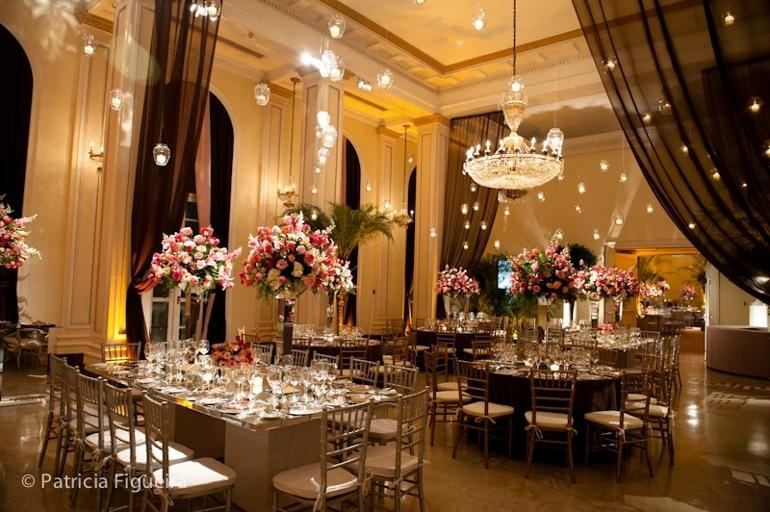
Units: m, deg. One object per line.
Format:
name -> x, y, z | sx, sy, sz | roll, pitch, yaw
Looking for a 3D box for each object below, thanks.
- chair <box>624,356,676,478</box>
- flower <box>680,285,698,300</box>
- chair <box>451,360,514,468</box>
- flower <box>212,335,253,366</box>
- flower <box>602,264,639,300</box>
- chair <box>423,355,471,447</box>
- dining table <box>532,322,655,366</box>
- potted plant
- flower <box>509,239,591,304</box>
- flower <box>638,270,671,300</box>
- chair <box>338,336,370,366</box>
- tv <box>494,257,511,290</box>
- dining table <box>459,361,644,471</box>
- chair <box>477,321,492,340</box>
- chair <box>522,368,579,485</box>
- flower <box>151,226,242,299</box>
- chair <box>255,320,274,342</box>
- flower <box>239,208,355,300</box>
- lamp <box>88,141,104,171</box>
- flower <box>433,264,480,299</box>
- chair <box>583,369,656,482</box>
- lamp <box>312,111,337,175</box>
chair -> 3.587, 2.180, 8.208 | 0.608, 0.949, 0.559 | 27, -31, -36
flower -> 12.931, 1.606, 25.224 | 0.678, 0.739, 0.654 | -4, -1, -41
chair -> 1.329, 2.073, 7.989 | 0.780, 1.322, 0.805 | 0, -5, 30
flower -> -1.787, 1.064, 6.845 | 0.362, 0.230, 0.370 | 4, -4, -30
flower -> 4.672, 0.575, 11.726 | 0.743, 0.722, 0.787 | 2, -3, 1
chair -> 0.952, 2.112, 8.700 | 0.679, 1.228, 0.707 | -1, -13, 9
dining table -> 3.503, 1.545, 9.990 | 1.469, 0.401, 1.538 | 2, 4, 43
potted plant -> -0.944, -0.066, 12.205 | 1.916, 1.822, 1.959 | 4, 1, -13
flower -> 2.292, 0.263, 9.046 | 0.835, 0.676, 0.858 | 2, 5, -31
flower -> 10.701, 1.105, 23.442 | 1.131, 1.288, 1.202 | 0, -4, 12
chair -> -0.530, 1.610, 9.796 | 0.412, 0.749, 0.448 | 3, 17, -6
tv -> 3.311, 0.505, 16.549 | 0.346, 0.917, 0.552 | 0, -4, 8
dining table -> 2.166, 2.069, 7.811 | 1.427, 0.933, 1.517 | 2, -11, 9
chair -> 2.191, 1.656, 12.995 | 0.330, 0.359, 0.616 | -5, -1, 8
chair -> 2.135, 2.144, 7.631 | 0.670, 1.354, 0.859 | -1, -5, 17
flower -> -2.528, 0.001, 7.992 | 1.039, 0.969, 1.100 | 10, 12, -6
chair -> -2.750, 1.712, 13.237 | 0.245, 0.488, 0.470 | -15, -18, 42
flower -> -1.114, 0.122, 7.258 | 1.125, 1.020, 1.123 | 8, -7, -40
lamp -> -5.427, -1.872, 11.003 | 0.252, 0.554, 0.184 | 2, -4, -14
flower -> 1.789, 0.658, 14.381 | 0.797, 0.603, 0.813 | 1, -3, 38
chair -> 3.090, 2.172, 7.767 | 0.693, 1.300, 0.762 | 2, -2, -20
lamp -> -1.218, -2.354, 11.747 | 0.345, 1.158, 0.358 | -6, -8, 24
